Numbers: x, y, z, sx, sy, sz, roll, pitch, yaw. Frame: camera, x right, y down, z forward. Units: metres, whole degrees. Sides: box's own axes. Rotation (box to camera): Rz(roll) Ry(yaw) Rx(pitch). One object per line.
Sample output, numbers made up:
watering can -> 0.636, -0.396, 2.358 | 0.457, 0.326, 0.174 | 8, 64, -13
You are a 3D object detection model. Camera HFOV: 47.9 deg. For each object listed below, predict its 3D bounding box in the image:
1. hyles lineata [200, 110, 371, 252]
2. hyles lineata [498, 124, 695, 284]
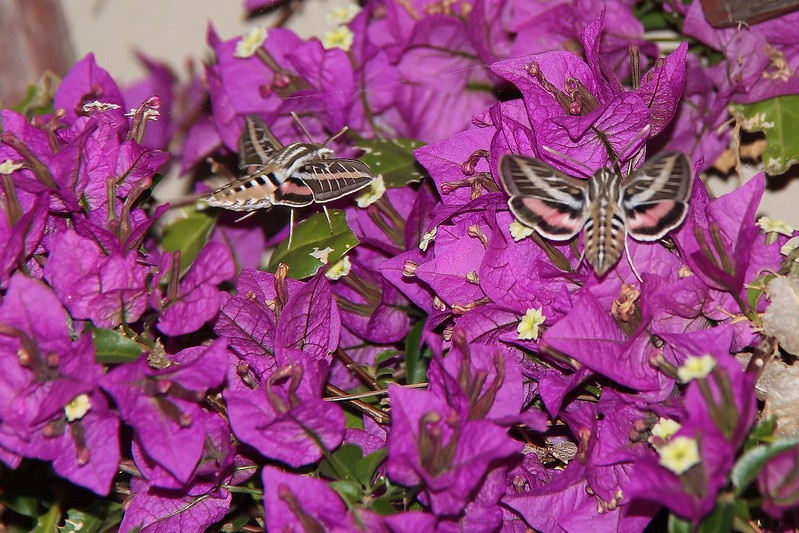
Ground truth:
hyles lineata -> -0.105, -0.089, 0.931 | 0.160, 0.100, 0.178 | 7, 31, 8
hyles lineata -> 0.182, -0.056, 0.803 | 0.180, 0.101, 0.118 | 2, 52, 6
